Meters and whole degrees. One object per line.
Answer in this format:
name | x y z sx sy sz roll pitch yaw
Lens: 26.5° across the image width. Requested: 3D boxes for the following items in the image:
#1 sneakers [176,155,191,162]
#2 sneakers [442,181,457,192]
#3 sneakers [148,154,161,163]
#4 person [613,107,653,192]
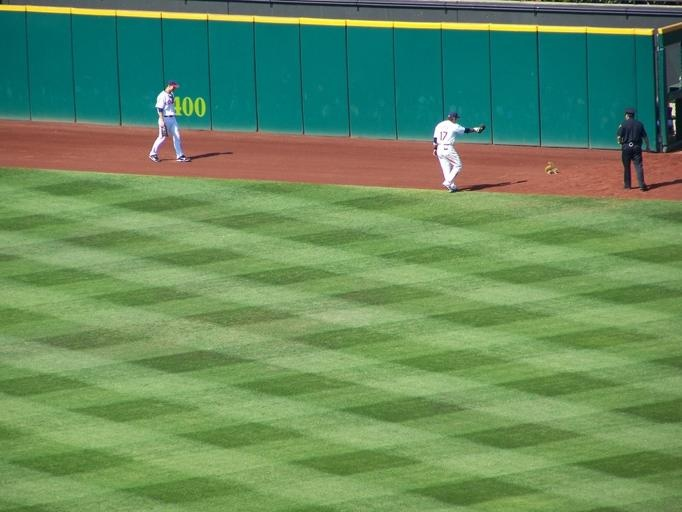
sneakers | -3.622 -2.249 33.438 0.300 0.117 0.128 -2 7 10
sneakers | 2.291 -1.505 30.501 0.267 0.236 0.196 -17 45 -33
sneakers | -4.301 -2.278 33.333 0.121 0.127 0.318 23 8 -40
person | 6.171 -2.269 30.541 0.617 1.685 0.969 1 12 11
